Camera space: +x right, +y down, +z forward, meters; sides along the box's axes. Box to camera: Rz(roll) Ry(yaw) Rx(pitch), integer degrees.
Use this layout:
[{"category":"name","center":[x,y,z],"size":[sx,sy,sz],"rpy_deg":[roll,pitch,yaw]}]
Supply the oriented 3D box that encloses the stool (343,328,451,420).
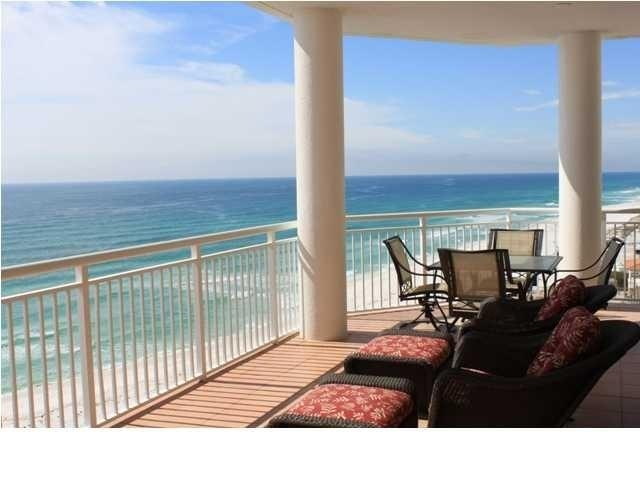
[{"category":"stool","center":[0.575,0.945,3.415],"size":[0.641,0.345,0.817],"rpy_deg":[1,10,23]}]

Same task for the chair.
[{"category":"chair","center":[1.222,0.677,2.955],"size":[1.359,1.215,1.142],"rpy_deg":[6,18,21]}]
